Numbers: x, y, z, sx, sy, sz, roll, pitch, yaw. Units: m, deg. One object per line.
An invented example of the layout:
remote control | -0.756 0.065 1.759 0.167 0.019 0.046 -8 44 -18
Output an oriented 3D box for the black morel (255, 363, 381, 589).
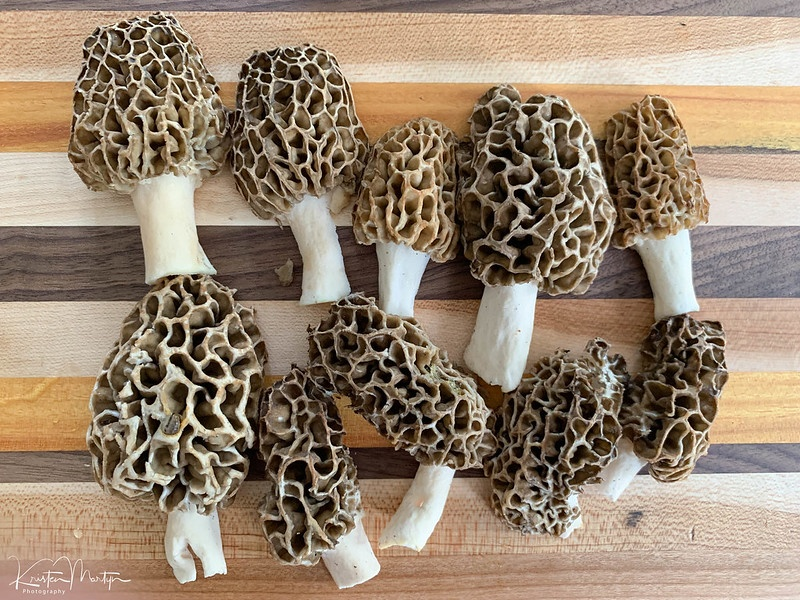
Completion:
black morel | -0.242 0.573 2.798 0.392 0.630 0.300 -20 -1 -25
